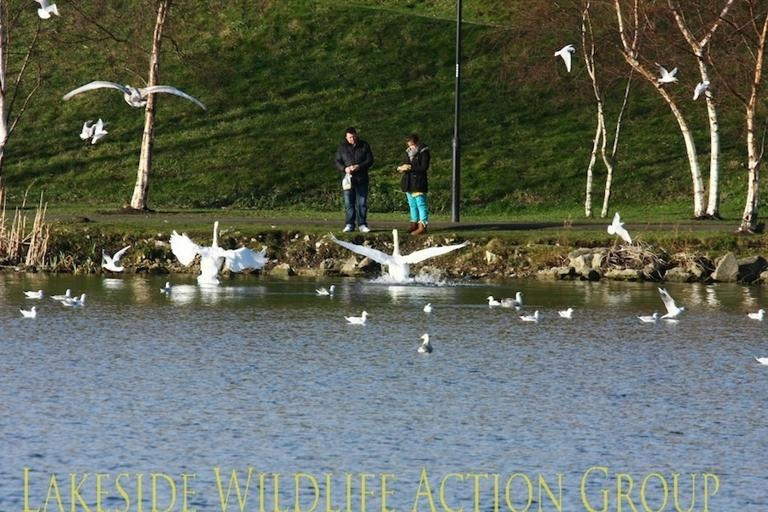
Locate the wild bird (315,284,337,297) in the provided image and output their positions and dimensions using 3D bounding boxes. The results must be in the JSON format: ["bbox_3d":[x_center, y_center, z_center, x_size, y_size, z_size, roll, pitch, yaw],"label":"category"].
[{"bbox_3d":[-2.191,1.287,63.725,0.725,0.402,1.360,0,-3,-1],"label":"wild bird"}]

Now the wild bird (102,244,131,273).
[{"bbox_3d":[-10.214,0.101,66.832,1.070,1.061,2.466,1,-3,-9],"label":"wild bird"}]

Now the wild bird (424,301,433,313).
[{"bbox_3d":[1.467,1.807,61.379,0.306,0.464,0.905,3,0,11],"label":"wild bird"}]

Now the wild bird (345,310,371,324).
[{"bbox_3d":[-0.991,2.102,59.858,0.790,0.440,1.170,0,-3,-1],"label":"wild bird"}]

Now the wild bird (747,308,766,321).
[{"bbox_3d":[12.605,2.019,60.086,0.588,0.361,0.350,1,7,-2],"label":"wild bird"}]
